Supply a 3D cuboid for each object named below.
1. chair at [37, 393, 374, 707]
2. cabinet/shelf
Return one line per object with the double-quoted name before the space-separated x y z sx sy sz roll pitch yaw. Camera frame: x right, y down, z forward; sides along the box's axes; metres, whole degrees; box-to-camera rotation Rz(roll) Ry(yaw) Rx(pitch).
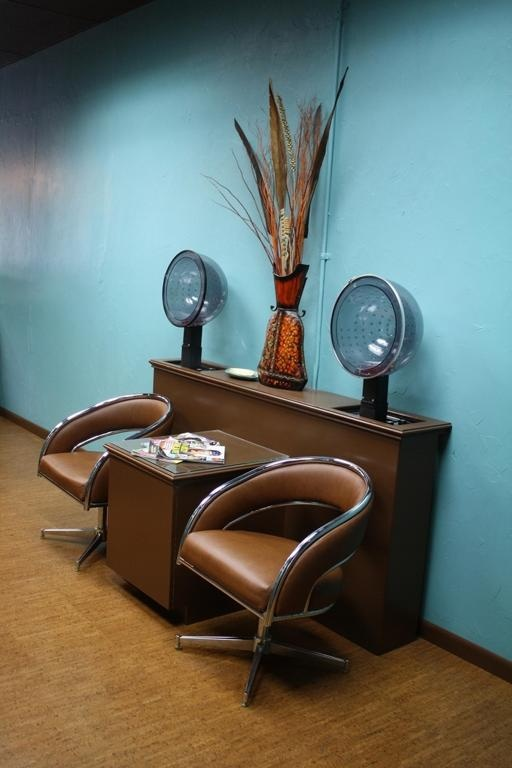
"chair" -0.275 0.529 2.563 0.735 0.659 1.917 3 2 -41
"cabinet/shelf" 0.030 0.453 2.650 1.371 0.826 0.269 13 3 39
